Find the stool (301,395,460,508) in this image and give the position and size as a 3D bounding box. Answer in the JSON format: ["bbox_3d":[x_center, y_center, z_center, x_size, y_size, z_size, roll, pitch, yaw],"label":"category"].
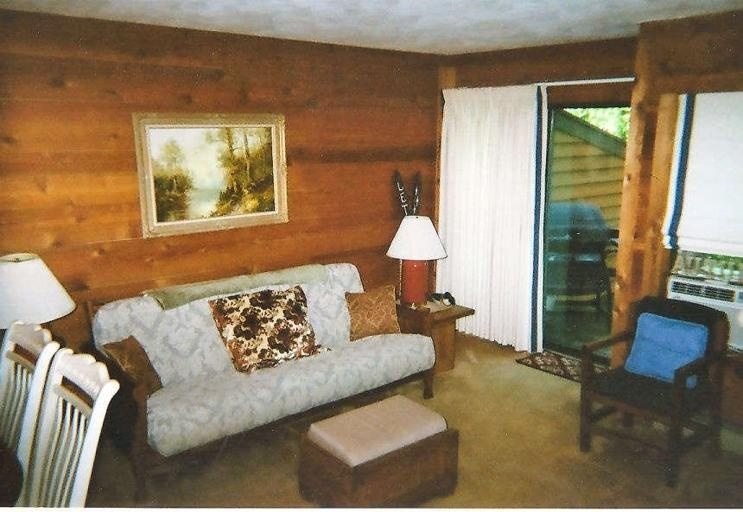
[{"bbox_3d":[-0.043,1.141,3.522,0.884,0.421,0.615,-6,9,-36],"label":"stool"}]

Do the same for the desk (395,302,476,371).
[{"bbox_3d":[0.558,0.751,5.104,0.667,0.618,0.704,6,9,42],"label":"desk"}]

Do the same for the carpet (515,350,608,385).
[{"bbox_3d":[1.707,1.013,4.879,0.420,0.033,0.453,-2,10,-20],"label":"carpet"}]

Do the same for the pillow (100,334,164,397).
[{"bbox_3d":[-1.626,0.772,3.686,0.104,0.390,0.325,-42,-11,33],"label":"pillow"}]

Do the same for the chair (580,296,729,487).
[{"bbox_3d":[2.031,0.929,3.955,0.841,1.107,0.798,-13,17,-42],"label":"chair"}]
